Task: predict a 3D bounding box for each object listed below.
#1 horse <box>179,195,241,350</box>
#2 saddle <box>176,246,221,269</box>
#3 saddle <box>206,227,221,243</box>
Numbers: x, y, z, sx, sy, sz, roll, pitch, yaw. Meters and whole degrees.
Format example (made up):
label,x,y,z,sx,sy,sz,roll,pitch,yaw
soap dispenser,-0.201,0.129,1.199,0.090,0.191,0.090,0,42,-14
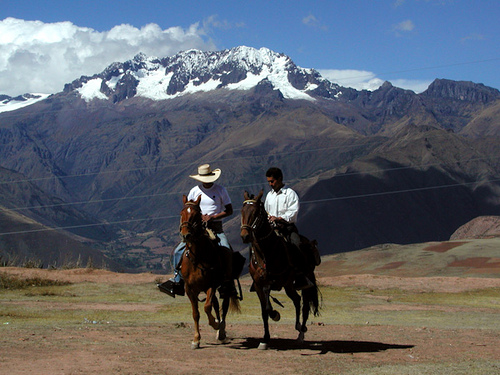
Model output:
label,x,y,z,sx,sy,sz,roll,pitch,yaw
horse,-2.765,5.807,48.783,3.302,8.567,11.460,-3,-14,8
saddle,-3.374,4.166,47.074,2.293,1.410,1.633,-1,4,-17
saddle,-2.157,2.818,46.770,0.279,0.936,0.679,-35,6,31
